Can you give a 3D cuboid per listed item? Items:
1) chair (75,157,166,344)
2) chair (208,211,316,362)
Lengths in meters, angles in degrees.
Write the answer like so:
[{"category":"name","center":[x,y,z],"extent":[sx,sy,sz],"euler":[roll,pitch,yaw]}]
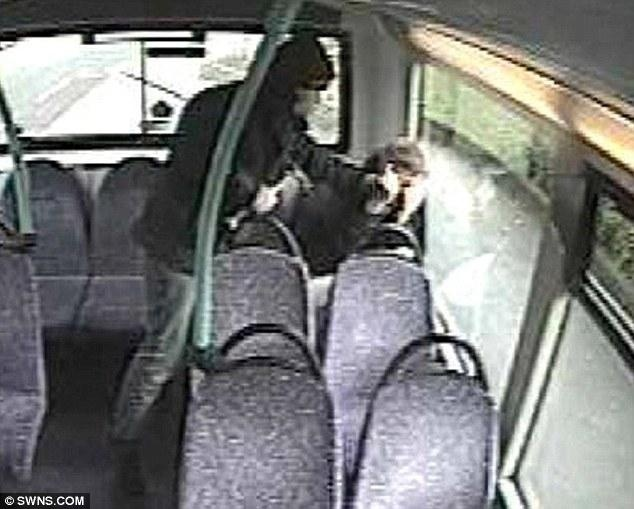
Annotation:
[{"category":"chair","center":[-0.327,-0.013,1.116],"extent":[0.102,0.146,0.253],"euler":[7,66,-15]},{"category":"chair","center":[-0.094,0.055,1.129],"extent":[0.160,0.111,0.212],"euler":[1,67,-17]}]
